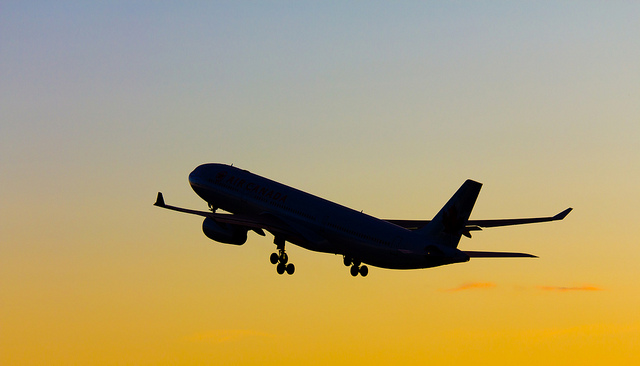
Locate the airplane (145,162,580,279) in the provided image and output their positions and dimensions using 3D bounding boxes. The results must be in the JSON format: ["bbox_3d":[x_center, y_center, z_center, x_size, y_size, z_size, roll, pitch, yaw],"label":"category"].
[{"bbox_3d":[0.940,3.297,83.539,17.703,16.309,4.902,11,-86,-48],"label":"airplane"}]
